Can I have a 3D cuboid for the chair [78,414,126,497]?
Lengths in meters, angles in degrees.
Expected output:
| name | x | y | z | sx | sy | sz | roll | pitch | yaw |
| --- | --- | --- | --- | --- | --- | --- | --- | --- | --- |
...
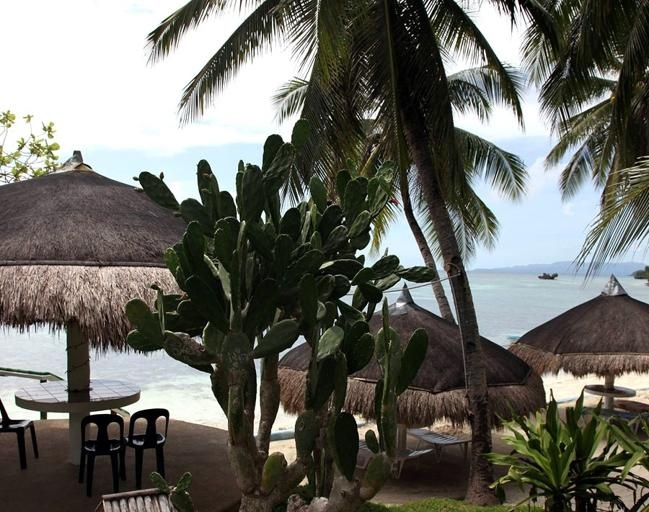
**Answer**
| name | x | y | z | sx | sy | sz | roll | pitch | yaw |
| --- | --- | --- | --- | --- | --- | --- | --- | --- | --- |
| chair | -2.534 | 2.209 | 6.540 | 0.468 | 0.996 | 0.500 | 2 | 5 | -26 |
